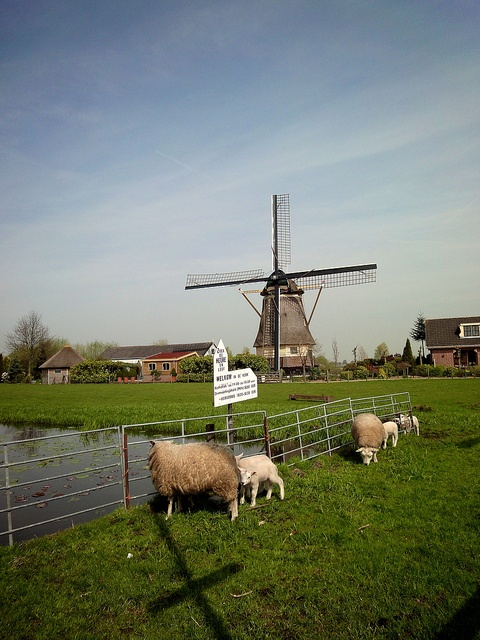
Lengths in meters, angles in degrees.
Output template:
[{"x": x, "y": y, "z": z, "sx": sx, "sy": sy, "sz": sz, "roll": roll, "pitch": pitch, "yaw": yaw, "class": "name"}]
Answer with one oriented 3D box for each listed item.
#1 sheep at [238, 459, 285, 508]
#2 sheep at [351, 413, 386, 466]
[{"x": 0.308, "y": 2.763, "z": 7.443, "sx": 0.385, "sy": 0.815, "sz": 1.104, "roll": -6, "pitch": -8, "yaw": 44, "class": "sheep"}, {"x": 3.165, "y": 3.097, "z": 10.981, "sx": 0.664, "sy": 1.233, "sz": 1.731, "roll": 0, "pitch": 17, "yaw": 15, "class": "sheep"}]
